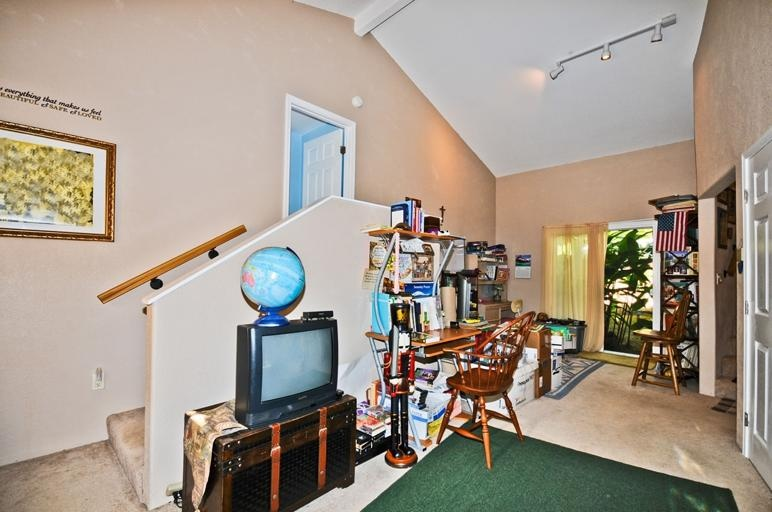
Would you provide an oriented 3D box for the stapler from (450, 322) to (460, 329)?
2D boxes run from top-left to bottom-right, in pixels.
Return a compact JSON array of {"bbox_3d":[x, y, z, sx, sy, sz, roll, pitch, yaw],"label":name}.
[{"bbox_3d":[0.765,0.774,5.577,0.076,0.077,0.055,3,-5,41],"label":"stapler"}]

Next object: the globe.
[{"bbox_3d":[-1.006,0.283,4.623,0.629,0.729,0.645,3,-5,-17],"label":"globe"}]

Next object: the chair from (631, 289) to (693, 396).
[{"bbox_3d":[3.636,1.082,6.618,0.738,1.354,1.083,-4,-2,29],"label":"chair"}]

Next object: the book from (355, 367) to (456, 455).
[{"bbox_3d":[0.236,1.544,4.907,1.057,0.523,0.316,5,-20,-26],"label":"book"}]
